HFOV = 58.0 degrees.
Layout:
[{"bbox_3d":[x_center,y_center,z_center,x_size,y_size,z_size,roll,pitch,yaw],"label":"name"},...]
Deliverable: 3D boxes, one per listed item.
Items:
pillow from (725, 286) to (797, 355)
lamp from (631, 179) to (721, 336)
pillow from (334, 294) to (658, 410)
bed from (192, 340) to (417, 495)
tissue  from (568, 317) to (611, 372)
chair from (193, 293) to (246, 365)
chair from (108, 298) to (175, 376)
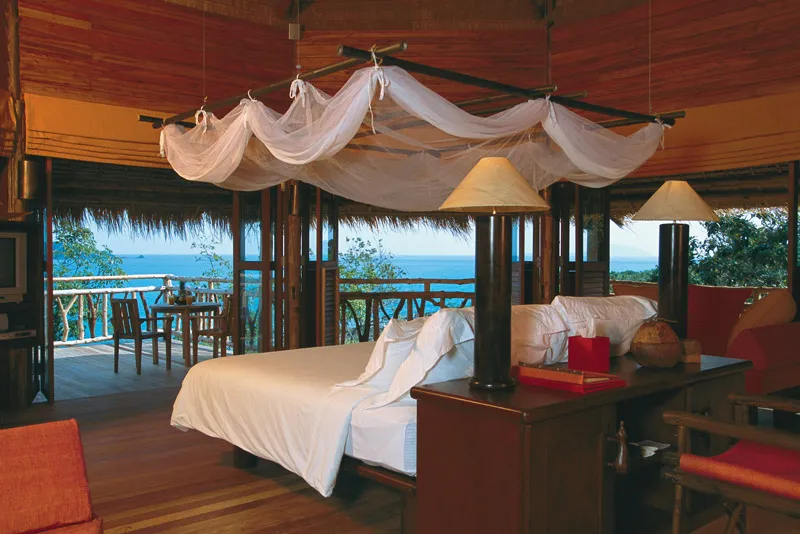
[{"bbox_3d":[2.875,0.427,5.809,0.468,0.498,0.372,8,17,41],"label":"pillow"},{"bbox_3d":[1.798,-0.076,4.787,0.669,0.946,0.679,1,7,36],"label":"lamp"},{"bbox_3d":[0.734,0.403,4.458,1.275,0.339,0.917,-6,3,-31],"label":"pillow"},{"bbox_3d":[-0.762,0.957,4.881,1.060,0.286,1.082,4,4,39],"label":"bed"},{"bbox_3d":[1.119,0.448,4.299,0.223,0.305,0.228,-1,-1,18],"label":"tissue "},{"bbox_3d":[-2.192,0.708,8.328,0.535,0.714,0.507,-2,-4,-7],"label":"chair"},{"bbox_3d":[-2.849,0.761,8.180,0.630,0.781,0.622,6,0,-14],"label":"chair"}]
